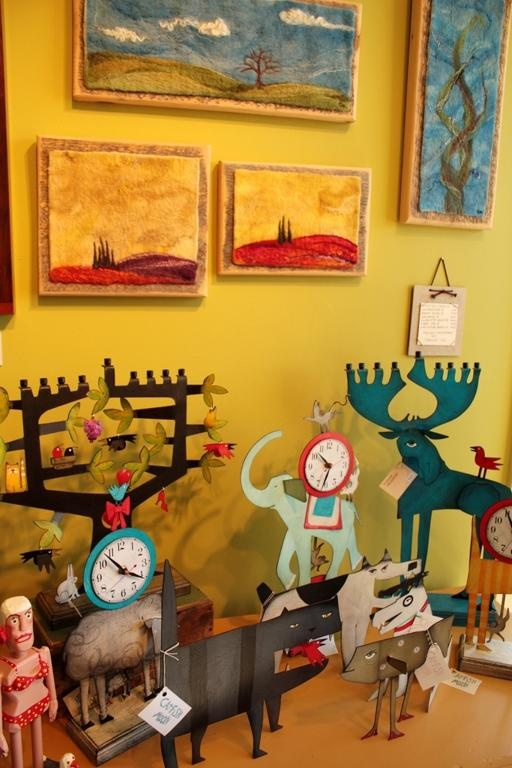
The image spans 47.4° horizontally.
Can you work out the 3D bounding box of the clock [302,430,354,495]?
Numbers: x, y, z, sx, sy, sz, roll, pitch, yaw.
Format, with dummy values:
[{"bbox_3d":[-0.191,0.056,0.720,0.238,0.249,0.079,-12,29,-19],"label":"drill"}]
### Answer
[{"bbox_3d":[0.141,0.159,1.142,0.131,0.129,0.021,0,4,-28],"label":"clock"}]
